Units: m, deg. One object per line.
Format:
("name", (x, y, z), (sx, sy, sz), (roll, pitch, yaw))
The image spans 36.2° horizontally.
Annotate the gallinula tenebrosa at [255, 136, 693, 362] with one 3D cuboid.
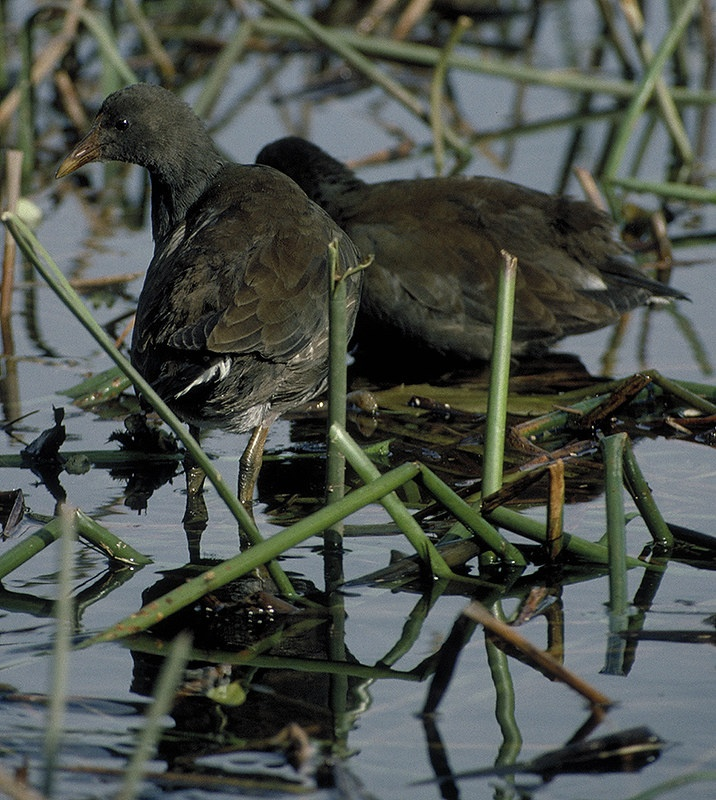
("gallinula tenebrosa", (0.569, -0.586, 4.884), (2.458, 0.958, 0.872), (2, 1, 6))
